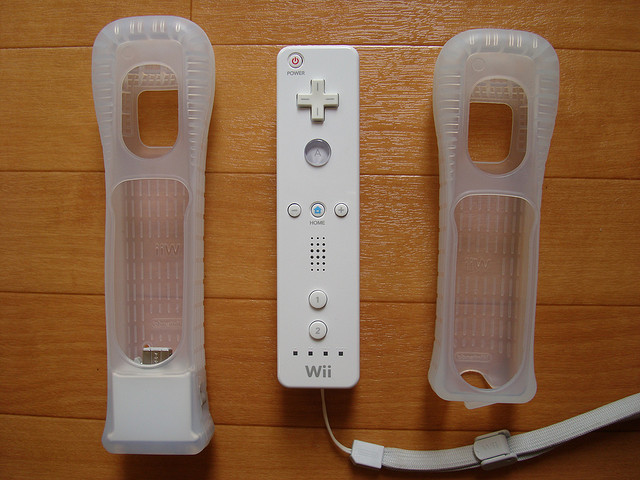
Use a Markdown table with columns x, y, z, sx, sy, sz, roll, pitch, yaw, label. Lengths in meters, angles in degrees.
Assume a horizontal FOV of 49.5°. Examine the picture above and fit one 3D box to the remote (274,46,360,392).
| x | y | z | sx | sy | sz | roll | pitch | yaw | label |
| --- | --- | --- | --- | --- | --- | --- | --- | --- | --- |
| -0.003 | -0.038 | 1.127 | 0.132 | 0.548 | 0.093 | 0 | 8 | -1 | remote |
